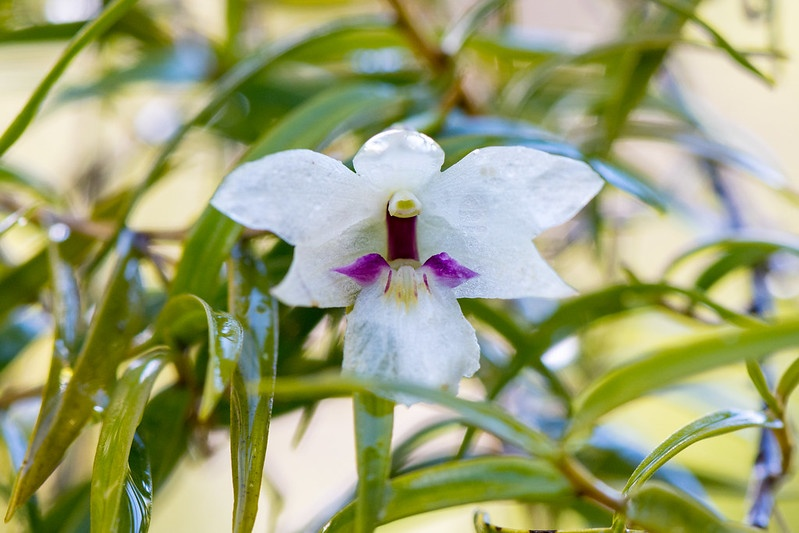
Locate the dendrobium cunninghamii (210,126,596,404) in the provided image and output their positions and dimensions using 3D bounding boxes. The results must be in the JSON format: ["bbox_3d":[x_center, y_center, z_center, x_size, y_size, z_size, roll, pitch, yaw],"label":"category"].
[{"bbox_3d":[-0.002,-0.025,0.705,0.272,0.220,0.086,4,9,-1],"label":"dendrobium cunninghamii"}]
